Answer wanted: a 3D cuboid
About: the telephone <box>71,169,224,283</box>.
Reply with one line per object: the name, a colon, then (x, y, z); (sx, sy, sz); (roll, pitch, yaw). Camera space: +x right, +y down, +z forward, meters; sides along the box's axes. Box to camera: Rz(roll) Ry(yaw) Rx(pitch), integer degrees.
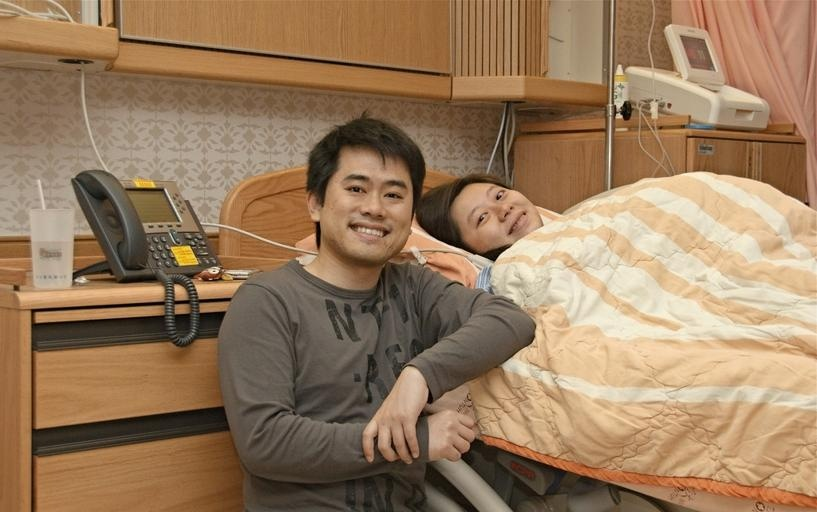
telephone: (-0.722, -0.091, 1.577); (0.329, 0.207, 0.340); (23, 13, 14)
